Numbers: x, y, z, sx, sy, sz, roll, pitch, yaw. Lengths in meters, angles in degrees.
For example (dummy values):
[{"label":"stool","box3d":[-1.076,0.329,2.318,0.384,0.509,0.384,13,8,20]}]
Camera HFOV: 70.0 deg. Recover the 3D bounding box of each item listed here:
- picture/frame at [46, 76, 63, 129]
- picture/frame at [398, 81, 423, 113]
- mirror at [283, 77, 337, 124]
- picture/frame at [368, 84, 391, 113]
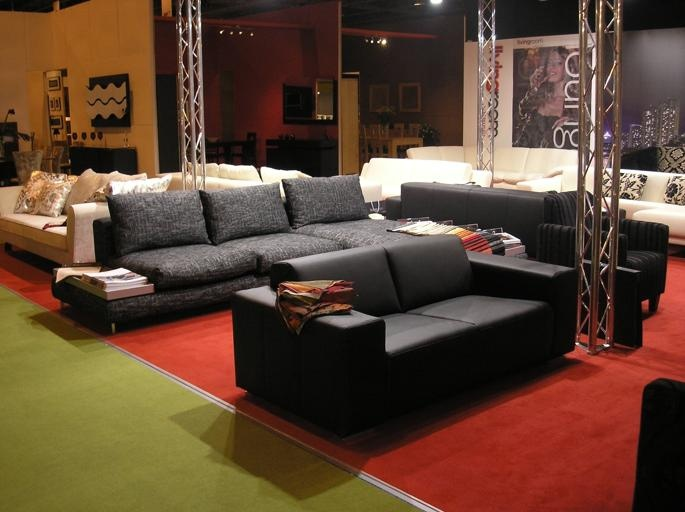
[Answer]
[{"label":"picture/frame","box3d":[-6.881,-3.660,11.725,0.819,1.211,0.085,8,15,34]},{"label":"picture/frame","box3d":[1.827,-4.271,13.076,0.083,0.884,0.844,-8,11,-39]},{"label":"mirror","box3d":[-0.756,-3.673,11.709,1.821,0.985,0.172,12,17,43]},{"label":"picture/frame","box3d":[1.053,-4.457,13.752,0.104,1.048,1.001,-11,18,-42]}]
